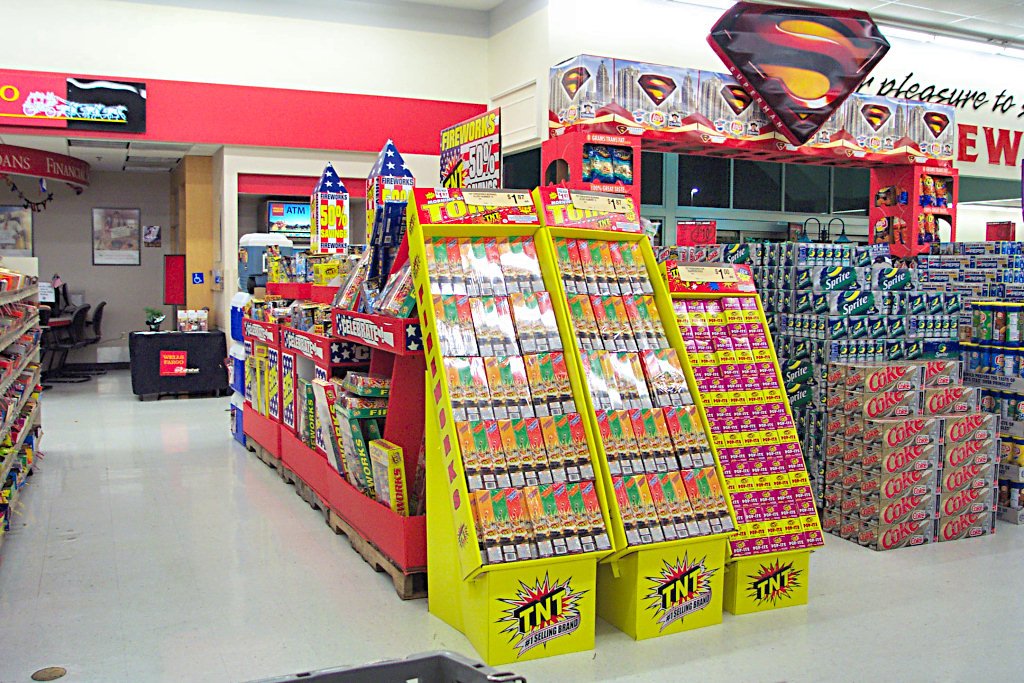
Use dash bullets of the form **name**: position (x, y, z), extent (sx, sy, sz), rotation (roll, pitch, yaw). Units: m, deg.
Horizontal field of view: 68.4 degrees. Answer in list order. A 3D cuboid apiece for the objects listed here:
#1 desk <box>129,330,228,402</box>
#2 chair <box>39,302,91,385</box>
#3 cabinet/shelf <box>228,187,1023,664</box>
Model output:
- **desk**: position (-4.908, 0.269, 11.121), extent (1.157, 0.786, 1.120), rotation (-2, 4, -24)
- **chair**: position (-7.695, 0.018, 12.721), extent (1.071, 1.248, 1.100), rotation (-5, 4, -21)
- **cabinet/shelf**: position (0.508, 0.486, 4.599), extent (2.003, 1.626, 3.540), rotation (-3, 6, -29)
